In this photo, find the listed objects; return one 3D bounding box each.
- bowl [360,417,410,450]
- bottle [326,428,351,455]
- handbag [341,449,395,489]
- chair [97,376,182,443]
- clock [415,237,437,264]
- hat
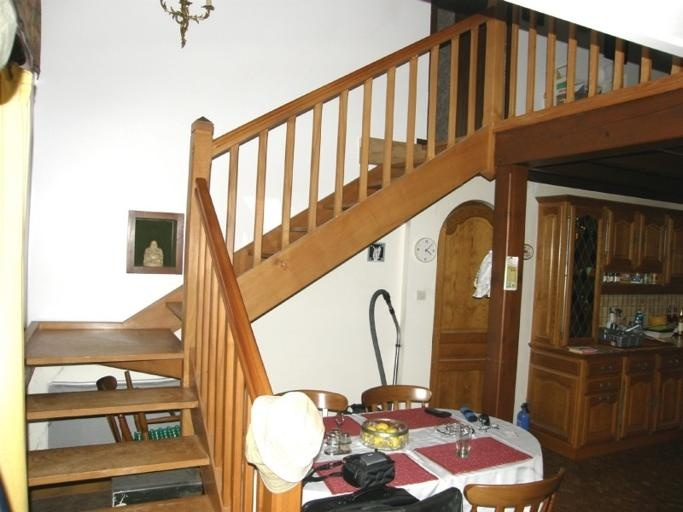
[{"bbox_3d":[0.295,1.191,3.865,0.309,0.116,0.312,-3,5,0],"label":"bowl"},{"bbox_3d":[-0.015,1.187,3.715,0.129,0.092,0.129,1,-3,0],"label":"bottle"},{"bbox_3d":[0.158,1.240,3.324,0.262,0.174,0.227,-1,-4,-19],"label":"handbag"},{"bbox_3d":[-1.590,1.211,4.548,0.590,0.569,1.189,-1,-4,-16],"label":"chair"},{"bbox_3d":[0.846,-0.065,5.836,0.237,0.251,0.034,-2,7,-25],"label":"clock"},{"bbox_3d":[-0.279,0.791,2.567,0.323,0.455,0.162,-22,-1,-28],"label":"hat"}]
